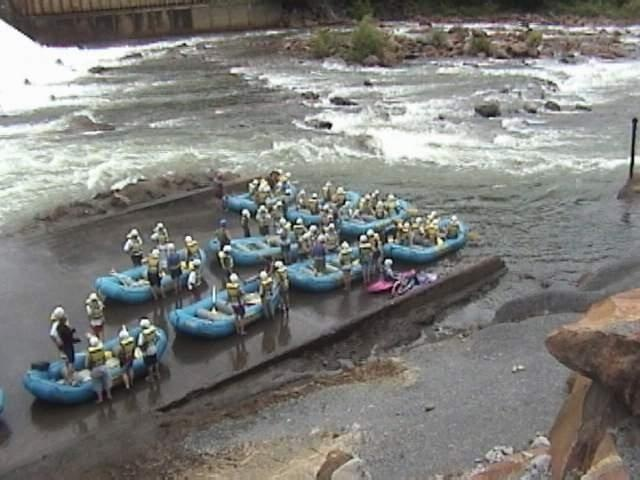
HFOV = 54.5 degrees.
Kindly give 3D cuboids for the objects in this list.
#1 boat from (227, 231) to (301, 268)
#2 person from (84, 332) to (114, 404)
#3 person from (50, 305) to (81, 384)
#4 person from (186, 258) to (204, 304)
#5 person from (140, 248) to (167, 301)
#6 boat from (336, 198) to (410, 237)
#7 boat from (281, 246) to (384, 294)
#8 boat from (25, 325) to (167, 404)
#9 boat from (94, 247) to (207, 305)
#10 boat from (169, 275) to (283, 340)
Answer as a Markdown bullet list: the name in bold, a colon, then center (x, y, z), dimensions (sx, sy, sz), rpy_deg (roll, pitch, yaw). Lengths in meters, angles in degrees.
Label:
- **boat**: center (-2.544, 0.659, 27.258), dimensions (2.430, 0.746, 1.461), rpy_deg (-10, 24, -24)
- **person**: center (-7.351, 4.238, 20.565), dimensions (0.669, 2.159, 0.631), rpy_deg (-16, 22, -23)
- **person**: center (-8.573, 3.475, 20.843), dimensions (0.724, 2.457, 0.960), rpy_deg (-15, 22, -22)
- **person**: center (-5.258, 1.616, 25.645), dimensions (0.668, 1.749, 0.578), rpy_deg (0, -10, 42)
- **person**: center (-6.734, 1.457, 24.941), dimensions (1.030, 2.780, 1.148), rpy_deg (-11, 53, -21)
- **boat**: center (2.744, -0.957, 29.263), dimensions (3.182, 0.580, 1.530), rpy_deg (-25, 31, -38)
- **boat**: center (0.267, 1.407, 25.502), dimensions (2.797, 0.613, 1.569), rpy_deg (-16, 30, -32)
- **boat**: center (-7.822, 4.961, 21.643), dimensions (4.093, 1.136, 2.179), rpy_deg (-22, 42, -34)
- **boat**: center (-7.325, 1.568, 25.034), dimensions (3.022, 0.860, 1.588), rpy_deg (-17, 32, -37)
- **boat**: center (-3.717, 2.683, 23.728), dimensions (1.932, 0.866, 3.752), rpy_deg (27, 34, 36)
